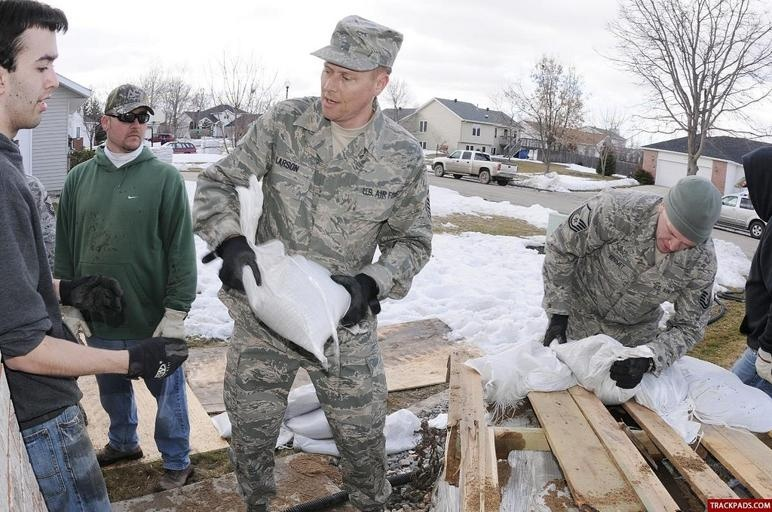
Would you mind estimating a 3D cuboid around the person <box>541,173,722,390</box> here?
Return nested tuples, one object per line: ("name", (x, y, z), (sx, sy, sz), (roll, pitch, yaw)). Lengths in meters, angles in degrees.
("person", (1.837, 0.084, 3.998), (1.156, 1.432, 0.668), (11, 15, 31))

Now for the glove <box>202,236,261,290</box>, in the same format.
("glove", (-0.795, 0.014, 2.790), (0.333, 0.260, 0.112), (57, 13, 28))

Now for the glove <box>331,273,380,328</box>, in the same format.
("glove", (-0.152, 0.228, 2.896), (0.285, 0.238, 0.172), (-6, 16, -38))

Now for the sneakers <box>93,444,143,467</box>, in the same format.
("sneakers", (-1.941, 1.445, 3.792), (0.345, 0.156, 0.125), (11, -8, -23))

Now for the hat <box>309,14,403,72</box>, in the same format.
("hat", (-0.178, -1.221, 3.028), (0.571, 0.298, 0.422), (-11, 22, -44))

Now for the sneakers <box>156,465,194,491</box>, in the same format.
("sneakers", (-1.467, 1.558, 3.664), (0.092, 0.103, 0.263), (0, -9, 26))

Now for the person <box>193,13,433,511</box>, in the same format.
("person", (-0.369, 0.190, 3.083), (1.369, 3.113, 0.731), (-1, 14, -20))

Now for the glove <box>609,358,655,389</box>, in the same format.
("glove", (1.700, 0.791, 3.625), (0.258, 0.197, 0.119), (11, 19, 27))

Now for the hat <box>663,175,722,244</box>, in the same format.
("hat", (2.087, -0.322, 3.732), (0.371, 0.463, 0.358), (12, -24, 1))
